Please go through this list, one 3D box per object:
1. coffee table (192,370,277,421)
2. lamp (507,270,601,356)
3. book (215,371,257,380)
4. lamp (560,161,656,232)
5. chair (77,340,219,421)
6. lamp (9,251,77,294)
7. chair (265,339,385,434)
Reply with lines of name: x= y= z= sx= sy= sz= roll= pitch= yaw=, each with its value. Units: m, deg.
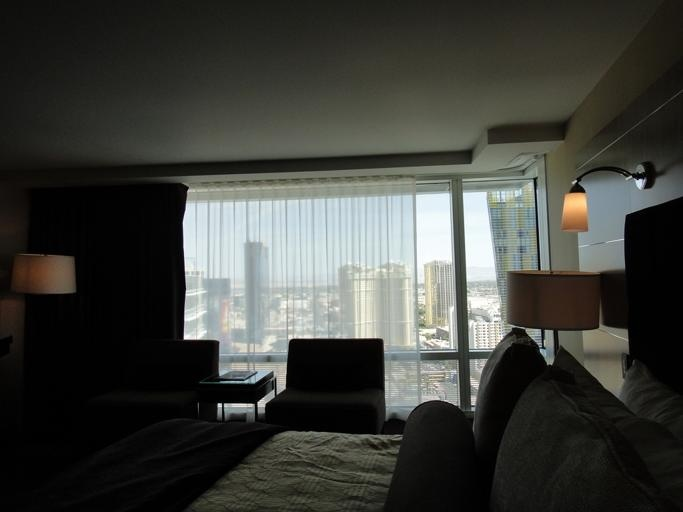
coffee table: x=-0.953 y=1.403 z=4.548 sx=0.476 sy=0.452 sz=0.713 roll=-1 pitch=-5 yaw=9
lamp: x=1.315 y=0.336 z=3.073 sx=0.428 sy=0.670 sz=0.422 roll=3 pitch=-4 yaw=-40
book: x=-0.960 y=1.099 z=4.629 sx=0.370 sy=0.051 sz=0.489 roll=-4 pitch=-8 yaw=1
lamp: x=1.710 y=-0.382 z=3.218 sx=0.497 sy=0.428 sz=0.182 roll=-1 pitch=1 yaw=37
chair: x=-1.694 y=1.149 z=4.699 sx=1.023 sy=0.809 sz=0.706 roll=-2 pitch=-14 yaw=4
lamp: x=-3.010 y=0.176 z=5.079 sx=0.487 sy=0.338 sz=0.489 roll=-1 pitch=-2 yaw=35
chair: x=-0.132 y=1.165 z=4.569 sx=1.043 sy=0.962 sz=0.724 roll=-2 pitch=-18 yaw=11
